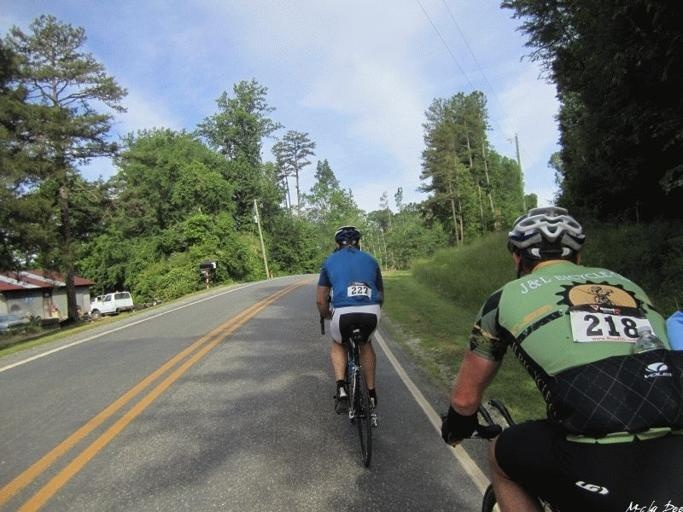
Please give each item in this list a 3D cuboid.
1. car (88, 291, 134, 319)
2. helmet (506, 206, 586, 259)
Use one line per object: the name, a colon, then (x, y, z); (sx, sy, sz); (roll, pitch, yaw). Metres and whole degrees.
car: (-16.501, 3.470, 35.769); (2.698, 1.456, 3.079); (-3, 3, -16)
helmet: (1.416, -0.138, 3.433); (0.405, 0.360, 0.617); (0, 4, 10)
